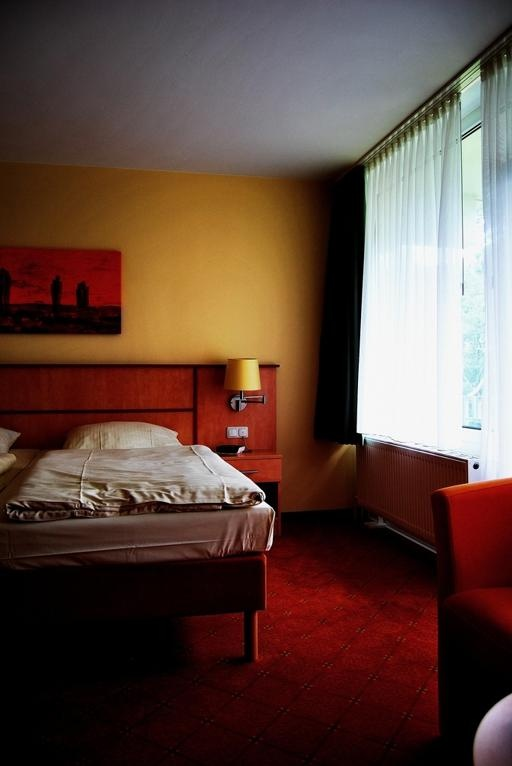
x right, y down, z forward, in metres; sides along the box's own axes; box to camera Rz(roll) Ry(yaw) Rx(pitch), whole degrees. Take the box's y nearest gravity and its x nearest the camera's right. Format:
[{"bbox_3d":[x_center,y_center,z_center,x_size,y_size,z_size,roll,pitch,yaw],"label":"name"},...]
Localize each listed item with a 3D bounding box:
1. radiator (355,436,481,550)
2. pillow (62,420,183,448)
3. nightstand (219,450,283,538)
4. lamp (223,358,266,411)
[{"bbox_3d":[0.849,0.641,3.285,0.075,0.512,0.868,2,0,-19],"label":"radiator"},{"bbox_3d":[-0.840,0.276,3.450,0.578,0.175,0.442,0,2,-17],"label":"pillow"},{"bbox_3d":[-0.051,0.719,3.708,0.408,0.580,0.304,-3,13,-6],"label":"nightstand"},{"bbox_3d":[-0.080,-0.001,3.686,0.231,0.366,0.242,0,0,-17],"label":"lamp"}]
